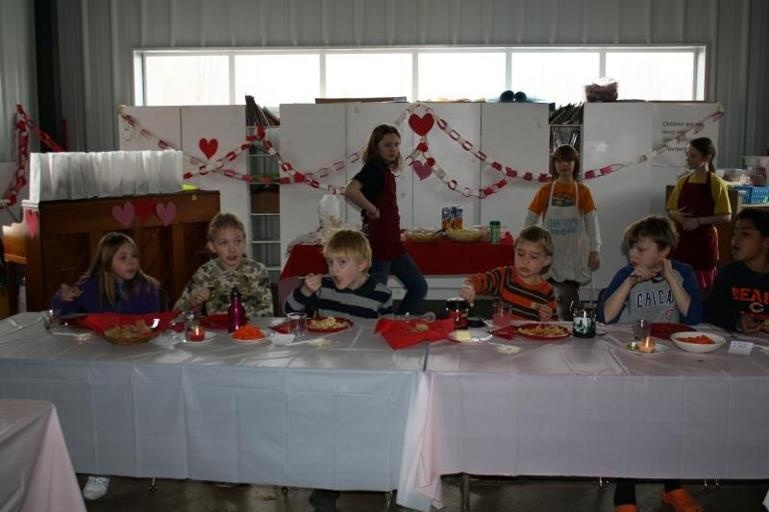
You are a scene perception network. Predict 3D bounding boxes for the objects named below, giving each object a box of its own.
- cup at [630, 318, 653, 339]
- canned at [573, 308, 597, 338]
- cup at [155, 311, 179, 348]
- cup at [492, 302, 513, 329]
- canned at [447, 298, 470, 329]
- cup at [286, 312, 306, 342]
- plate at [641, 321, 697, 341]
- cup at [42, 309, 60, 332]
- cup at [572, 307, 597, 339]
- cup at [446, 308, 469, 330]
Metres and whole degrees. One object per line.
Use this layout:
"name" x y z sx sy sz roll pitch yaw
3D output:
"cup" 1.268 0.354 3.182 0.089 0.101 0.087 -3 5 0
"canned" 1.040 0.352 3.426 0.134 0.155 0.137 1 4 -8
"cup" -1.150 0.389 3.388 0.103 0.164 0.063 4 -7 42
"cup" 0.642 0.341 3.620 0.098 0.141 0.143 0 1 2
"canned" 0.400 0.313 3.528 0.145 0.149 0.123 1 7 13
"cup" -0.455 0.377 3.381 0.110 0.131 0.114 0 6 0
"plate" 1.487 0.386 3.375 0.160 0.033 0.164 0 9 4
"cup" -1.736 0.348 3.361 0.083 0.107 0.099 0 -3 4
"cup" 1.030 0.353 3.420 0.136 0.156 0.140 2 5 0
"cup" 0.399 0.334 3.507 0.109 0.110 0.078 -2 4 -33
